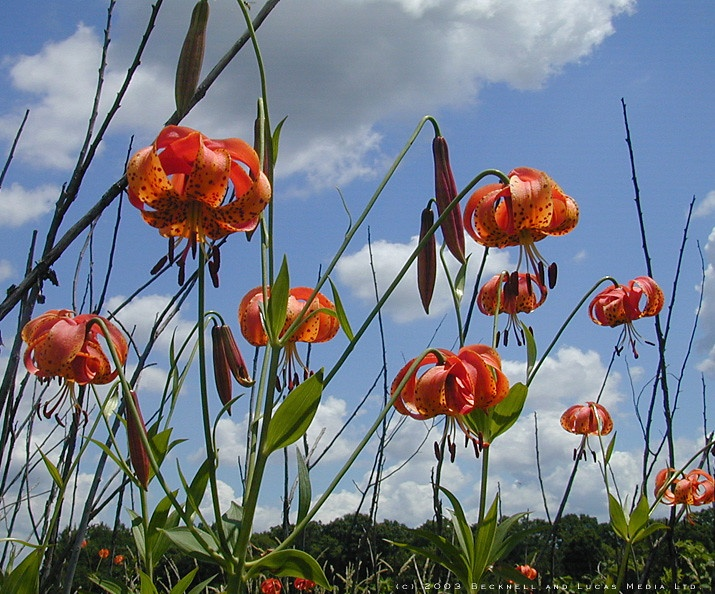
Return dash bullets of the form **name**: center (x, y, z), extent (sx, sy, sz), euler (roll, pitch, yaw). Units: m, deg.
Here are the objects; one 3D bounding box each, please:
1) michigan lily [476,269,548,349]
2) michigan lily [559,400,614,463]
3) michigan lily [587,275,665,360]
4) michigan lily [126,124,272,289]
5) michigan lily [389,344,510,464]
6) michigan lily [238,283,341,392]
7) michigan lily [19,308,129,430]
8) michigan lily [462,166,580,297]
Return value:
- **michigan lily**: center (0.675, 0.055, 3.257), extent (0.310, 0.349, 0.290), euler (-10, 10, -17)
- **michigan lily**: center (1.200, 0.701, 3.922), extent (0.249, 0.320, 0.245), euler (1, -1, 41)
- **michigan lily**: center (1.449, 0.125, 3.992), extent (0.386, 0.423, 0.349), euler (-17, 5, 34)
- **michigan lily**: center (-0.446, -0.314, 2.183), extent (0.412, 0.365, 0.453), euler (-3, -17, 21)
- **michigan lily**: center (0.355, 0.347, 2.894), extent (0.372, 0.325, 0.439), euler (2, 2, 14)
- **michigan lily**: center (-0.221, 0.076, 3.016), extent (0.352, 0.204, 0.344), euler (15, 11, 26)
- **michigan lily**: center (-0.843, 0.186, 2.251), extent (0.292, 0.376, 0.288), euler (3, -18, -11)
- **michigan lily**: center (0.664, -0.256, 2.907), extent (0.406, 0.420, 0.382), euler (14, -32, -17)
